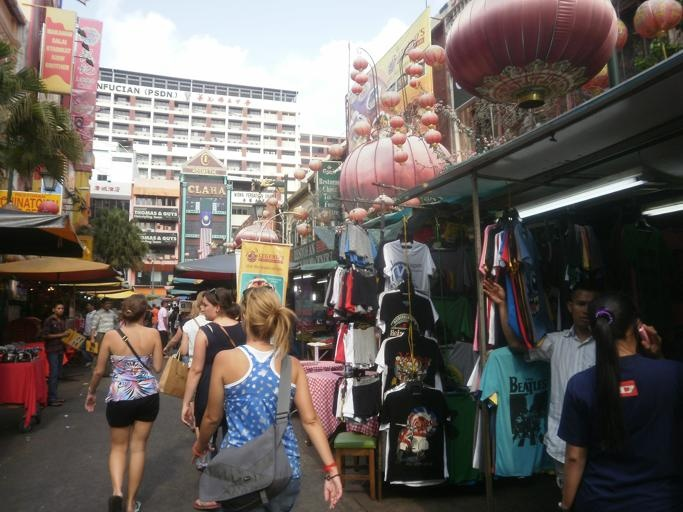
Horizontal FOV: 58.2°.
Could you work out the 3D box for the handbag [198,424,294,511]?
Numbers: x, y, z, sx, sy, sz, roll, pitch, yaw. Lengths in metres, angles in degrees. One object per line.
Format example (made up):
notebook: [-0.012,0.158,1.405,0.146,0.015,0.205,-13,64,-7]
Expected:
handbag: [-0.792,1.731,5.014,0.572,0.627,0.281,-14,-37,0]

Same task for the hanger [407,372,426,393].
hanger: [0.934,1.575,7.678,0.222,0.255,0.174,0,-1,-31]

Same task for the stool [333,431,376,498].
stool: [0.199,2.630,7.965,0.531,0.872,0.748,-1,-11,6]

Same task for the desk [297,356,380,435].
desk: [-0.029,1.849,8.296,1.040,0.981,1.338,0,-7,-11]
